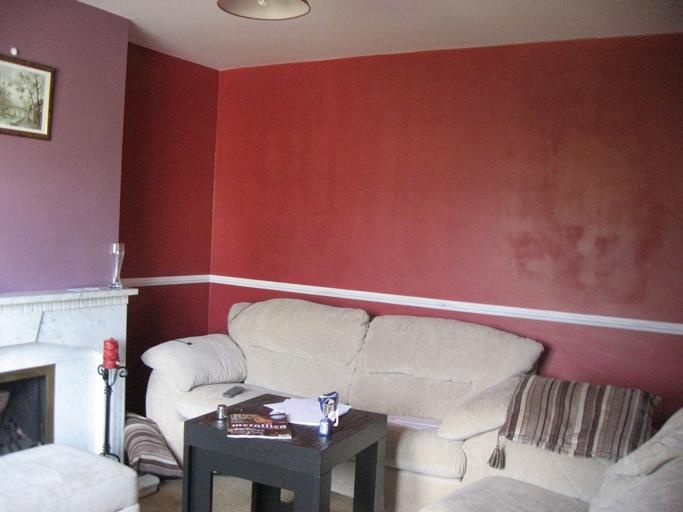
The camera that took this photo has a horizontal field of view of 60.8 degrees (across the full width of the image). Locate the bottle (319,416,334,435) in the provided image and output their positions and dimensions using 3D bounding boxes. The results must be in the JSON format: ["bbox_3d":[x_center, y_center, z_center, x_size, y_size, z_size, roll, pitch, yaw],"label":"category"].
[{"bbox_3d":[-0.081,0.820,2.808,0.061,0.078,0.061,0,-4,0],"label":"bottle"}]

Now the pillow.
[{"bbox_3d":[-1.207,1.241,3.752,0.294,0.157,0.493,10,9,-39],"label":"pillow"}]

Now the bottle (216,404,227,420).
[{"bbox_3d":[-0.595,0.767,2.877,0.052,0.054,0.056,4,8,19],"label":"bottle"}]

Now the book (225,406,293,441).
[{"bbox_3d":[-0.405,0.823,2.818,0.320,0.052,0.332,3,2,-6],"label":"book"}]
